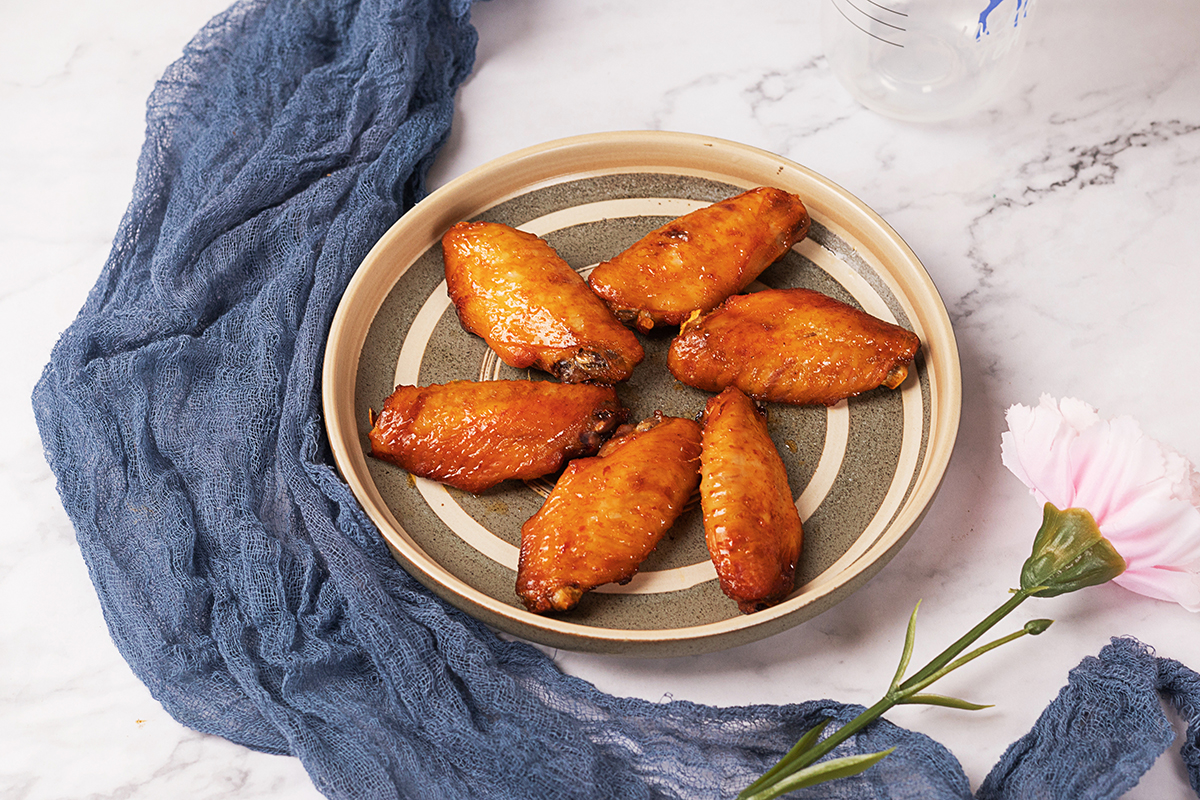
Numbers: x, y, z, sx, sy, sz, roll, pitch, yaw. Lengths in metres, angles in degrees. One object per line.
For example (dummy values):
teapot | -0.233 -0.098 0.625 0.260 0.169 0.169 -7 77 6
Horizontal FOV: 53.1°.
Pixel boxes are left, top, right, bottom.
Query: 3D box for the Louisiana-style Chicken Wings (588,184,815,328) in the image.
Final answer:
Louisiana-style Chicken Wings | 0.158 -0.218 1.974 0.372 0.113 0.174 -29 59 -27

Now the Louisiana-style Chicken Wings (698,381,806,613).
Louisiana-style Chicken Wings | 0.225 0.142 1.747 0.141 0.105 0.310 1 73 -3

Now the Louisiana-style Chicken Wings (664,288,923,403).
Louisiana-style Chicken Wings | 0.306 -0.091 1.876 0.317 0.101 0.182 6 62 6

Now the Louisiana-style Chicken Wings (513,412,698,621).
Louisiana-style Chicken Wings | 0.014 0.185 1.878 0.330 0.097 0.177 -42 81 -10
